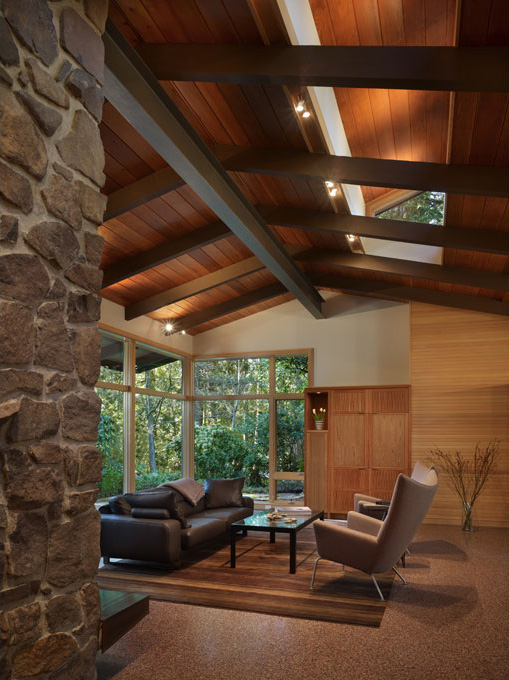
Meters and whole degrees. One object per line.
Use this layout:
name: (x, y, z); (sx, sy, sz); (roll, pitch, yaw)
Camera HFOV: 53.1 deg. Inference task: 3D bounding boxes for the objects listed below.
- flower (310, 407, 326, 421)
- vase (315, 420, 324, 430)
flower: (1.099, 1.278, 8.768); (0.197, 0.200, 0.181); (-5, -12, 36)
vase: (1.110, 1.434, 8.611); (0.145, 0.164, 0.148); (-4, -12, 23)
